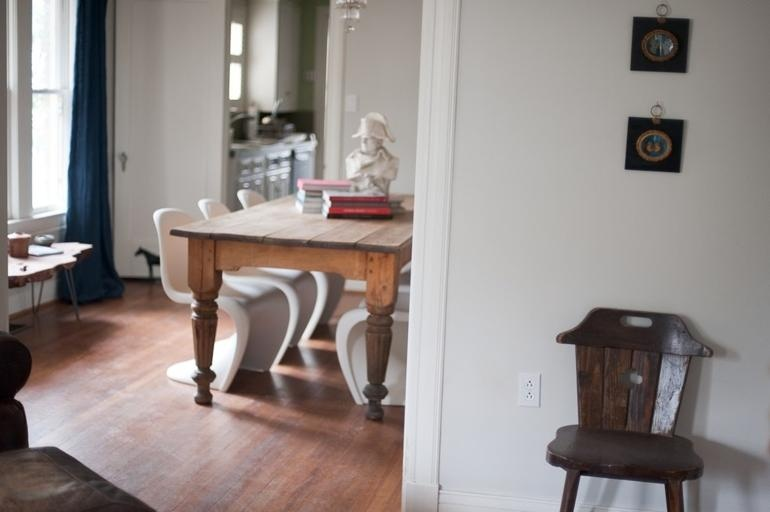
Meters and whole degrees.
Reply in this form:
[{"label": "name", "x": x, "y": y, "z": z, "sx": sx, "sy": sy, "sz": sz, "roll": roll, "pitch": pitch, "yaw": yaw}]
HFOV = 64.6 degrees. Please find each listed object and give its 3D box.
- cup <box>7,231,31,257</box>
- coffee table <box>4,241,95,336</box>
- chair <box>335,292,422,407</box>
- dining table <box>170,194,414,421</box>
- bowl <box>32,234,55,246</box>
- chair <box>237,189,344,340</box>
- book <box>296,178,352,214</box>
[{"label": "cup", "x": -2.527, "y": -0.076, "z": 4.198, "sx": 0.131, "sy": 0.163, "sz": 0.111, "roll": -12, "pitch": 16, "yaw": -43}, {"label": "coffee table", "x": -2.399, "y": 0.242, "z": 4.323, "sx": 0.424, "sy": 0.323, "sz": 0.629, "roll": 1, "pitch": 18, "yaw": -3}, {"label": "chair", "x": -0.021, "y": 0.533, "z": 3.609, "sx": 0.524, "sy": 0.493, "sz": 0.612, "roll": 0, "pitch": 3, "yaw": 7}, {"label": "dining table", "x": -0.464, "y": 0.319, "z": 3.572, "sx": 1.121, "sy": 0.797, "sz": 1.562, "roll": 2, "pitch": 8, "yaw": 5}, {"label": "bowl", "x": -2.521, "y": -0.113, "z": 4.519, "sx": 0.133, "sy": 0.069, "sz": 0.130, "roll": -1, "pitch": -1, "yaw": 0}, {"label": "chair", "x": -0.546, "y": -0.036, "z": 4.831, "sx": 1.076, "sy": 1.307, "sz": 1.024, "roll": -1, "pitch": 12, "yaw": -3}, {"label": "book", "x": -0.429, "y": -0.388, "z": 3.911, "sx": 0.342, "sy": 0.166, "sz": 0.234, "roll": -1, "pitch": 3, "yaw": -19}]
